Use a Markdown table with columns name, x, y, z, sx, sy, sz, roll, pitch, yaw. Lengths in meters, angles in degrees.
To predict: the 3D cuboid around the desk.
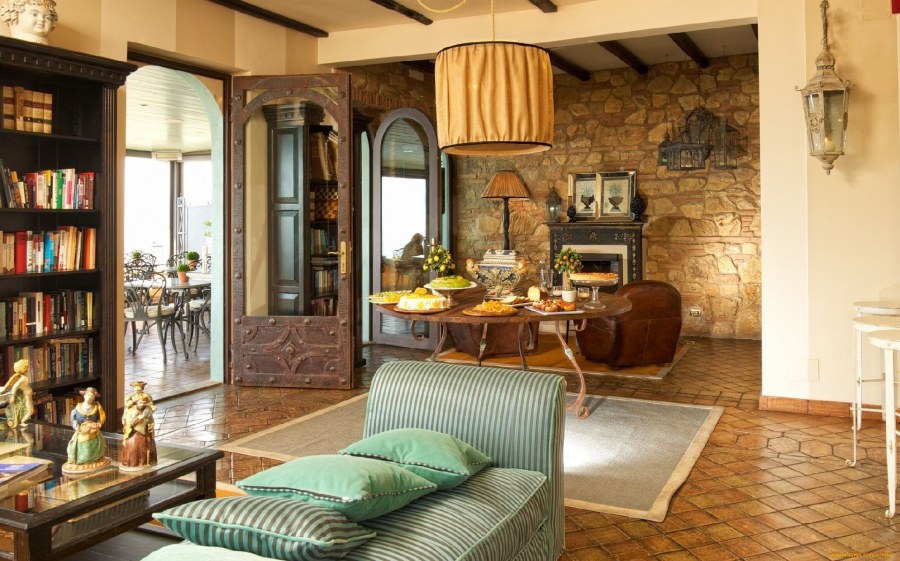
| name | x | y | z | sx | sy | sz | roll | pitch | yaw |
| --- | --- | --- | --- | --- | --- | --- | --- | --- | --- |
| desk | 0.585 | 0.665 | 6.375 | 2.078 | 0.680 | 1.952 | -1 | 0 | 26 |

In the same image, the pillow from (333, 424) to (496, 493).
| name | x | y | z | sx | sy | sz | roll | pitch | yaw |
| --- | --- | --- | --- | --- | --- | --- | --- | --- | --- |
| pillow | -0.194 | 0.951 | 3.501 | 0.506 | 0.134 | 0.410 | 1 | -3 | 33 |

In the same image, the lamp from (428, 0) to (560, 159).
| name | x | y | z | sx | sy | sz | roll | pitch | yaw |
| --- | --- | --- | --- | --- | --- | --- | --- | --- | --- |
| lamp | 0.266 | -1.395 | 4.914 | 0.975 | 1.264 | 0.962 | -1 | -3 | 28 |

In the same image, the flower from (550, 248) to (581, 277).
| name | x | y | z | sx | sy | sz | roll | pitch | yaw |
| --- | --- | --- | --- | --- | --- | --- | --- | --- | --- |
| flower | 1.241 | -0.194 | 6.642 | 0.205 | 0.267 | 0.435 | -1 | 4 | 19 |

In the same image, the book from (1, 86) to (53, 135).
| name | x | y | z | sx | sy | sz | roll | pitch | yaw |
| --- | --- | --- | --- | --- | --- | --- | --- | --- | --- |
| book | -3.509 | -1.415 | 5.218 | 0.094 | 0.375 | 0.383 | 0 | 4 | 33 |

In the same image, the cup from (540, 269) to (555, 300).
| name | x | y | z | sx | sy | sz | roll | pitch | yaw |
| --- | --- | --- | --- | --- | --- | --- | --- | --- | --- |
| cup | 0.936 | 0.025 | 6.084 | 0.112 | 0.267 | 0.226 | -2 | 4 | 8 |

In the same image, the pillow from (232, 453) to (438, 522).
| name | x | y | z | sx | sy | sz | roll | pitch | yaw |
| --- | --- | --- | --- | --- | --- | --- | --- | --- | --- |
| pillow | -0.504 | 1.009 | 3.185 | 0.501 | 0.128 | 0.483 | 2 | 0 | 34 |

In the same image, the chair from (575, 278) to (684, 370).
| name | x | y | z | sx | sy | sz | roll | pitch | yaw |
| --- | --- | --- | --- | --- | --- | --- | --- | --- | --- |
| chair | 2.150 | 0.515 | 7.787 | 0.928 | 0.977 | 1.100 | 0 | 4 | -23 |

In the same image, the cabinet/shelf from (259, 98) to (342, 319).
| name | x | y | z | sx | sy | sz | roll | pitch | yaw |
| --- | --- | --- | --- | --- | --- | --- | --- | --- | --- |
| cabinet/shelf | -1.573 | -0.536 | 7.370 | 0.762 | 2.985 | 0.944 | 2 | 3 | 35 |

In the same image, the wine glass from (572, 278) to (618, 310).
| name | x | y | z | sx | sy | sz | roll | pitch | yaw |
| --- | --- | --- | --- | --- | --- | --- | --- | --- | --- |
| wine glass | 1.435 | 0.116 | 6.216 | 0.441 | 0.239 | 0.400 | 1 | -2 | 10 |

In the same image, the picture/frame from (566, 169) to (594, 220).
| name | x | y | z | sx | sy | sz | roll | pitch | yaw |
| --- | --- | --- | --- | --- | --- | --- | --- | --- | --- |
| picture/frame | 2.076 | -1.336 | 9.902 | 0.441 | 0.710 | 0.168 | -1 | 4 | 16 |

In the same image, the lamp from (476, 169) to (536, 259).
| name | x | y | z | sx | sy | sz | roll | pitch | yaw |
| --- | --- | --- | --- | --- | --- | --- | --- | --- | --- |
| lamp | 0.943 | -1.154 | 10.187 | 0.673 | 1.351 | 0.589 | -2 | 4 | 16 |

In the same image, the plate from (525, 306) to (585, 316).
| name | x | y | z | sx | sy | sz | roll | pitch | yaw |
| --- | --- | --- | --- | --- | --- | --- | --- | --- | --- |
| plate | 0.939 | 0.261 | 5.709 | 0.546 | 0.071 | 0.295 | -1 | 4 | 10 |

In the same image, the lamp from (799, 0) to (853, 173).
| name | x | y | z | sx | sy | sz | roll | pitch | yaw |
| --- | --- | --- | --- | --- | --- | --- | --- | --- | --- |
| lamp | 3.472 | -1.799 | 5.794 | 0.325 | 1.625 | 0.404 | 1 | 6 | 44 |

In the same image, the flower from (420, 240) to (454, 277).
| name | x | y | z | sx | sy | sz | roll | pitch | yaw |
| --- | --- | --- | --- | --- | --- | --- | --- | --- | --- |
| flower | -0.098 | -0.156 | 5.984 | 0.234 | 0.298 | 0.215 | -10 | -27 | 44 |
